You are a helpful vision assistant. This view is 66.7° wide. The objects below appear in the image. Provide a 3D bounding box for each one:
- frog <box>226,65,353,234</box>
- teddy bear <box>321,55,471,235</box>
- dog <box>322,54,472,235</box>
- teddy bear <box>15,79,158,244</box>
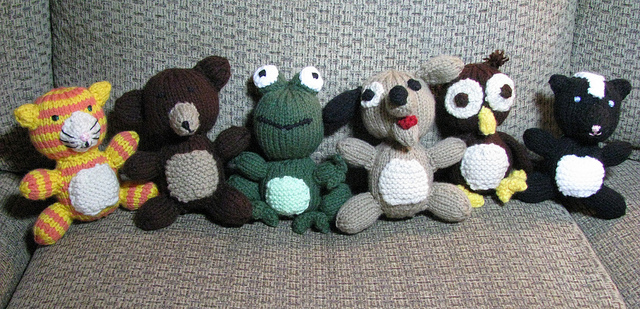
[{"bbox_3d":[-0.102,-0.006,1.975,0.391,0.655,0.636,2,3,7],"label":"frog"},{"bbox_3d":[0.287,-0.033,1.807,0.544,0.590,0.371,-1,36,-8],"label":"teddy bear"},{"bbox_3d":[0.271,-0.032,2.027,0.535,0.682,0.572,2,4,10],"label":"dog"},{"bbox_3d":[-0.857,0.034,1.789,0.580,0.543,0.309,-11,18,-29],"label":"teddy bear"}]
